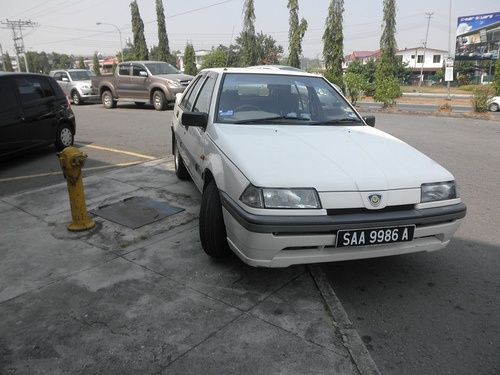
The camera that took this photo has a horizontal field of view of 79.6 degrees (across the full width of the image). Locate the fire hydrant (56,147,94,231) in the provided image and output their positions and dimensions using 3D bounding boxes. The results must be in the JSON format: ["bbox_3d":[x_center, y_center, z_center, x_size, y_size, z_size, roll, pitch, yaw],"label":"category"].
[{"bbox_3d":[-2.150,0.008,3.703,0.365,0.956,0.482,-12,21,-28],"label":"fire hydrant"}]

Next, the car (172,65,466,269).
[{"bbox_3d":[0.178,-0.244,3.542,2.035,1.341,3.154,-4,22,-23],"label":"car"}]
